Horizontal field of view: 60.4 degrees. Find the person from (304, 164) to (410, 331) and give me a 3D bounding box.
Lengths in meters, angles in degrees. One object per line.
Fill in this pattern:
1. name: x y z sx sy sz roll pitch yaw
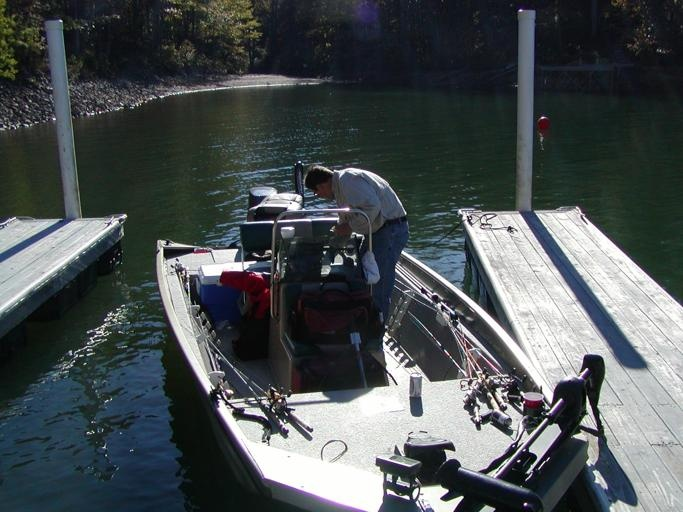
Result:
1. person: 0.086 -0.034 5.307 0.731 1.520 0.772 -7 27 -36
